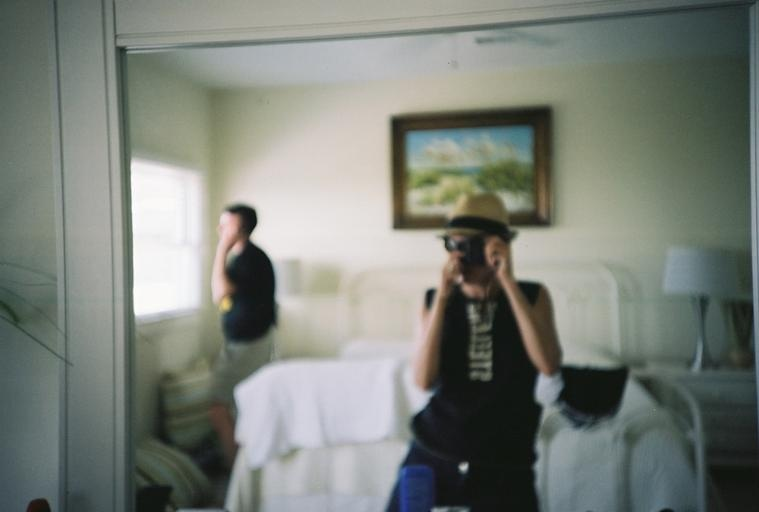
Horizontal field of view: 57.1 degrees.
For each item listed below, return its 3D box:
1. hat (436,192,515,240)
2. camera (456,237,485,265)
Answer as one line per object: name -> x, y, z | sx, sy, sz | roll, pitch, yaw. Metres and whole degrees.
hat -> 0.334, -0.133, 2.295 | 0.184, 0.093, 0.173 | -5, 4, -2
camera -> 0.304, -0.015, 2.301 | 0.092, 0.090, 0.023 | -2, 1, 2
